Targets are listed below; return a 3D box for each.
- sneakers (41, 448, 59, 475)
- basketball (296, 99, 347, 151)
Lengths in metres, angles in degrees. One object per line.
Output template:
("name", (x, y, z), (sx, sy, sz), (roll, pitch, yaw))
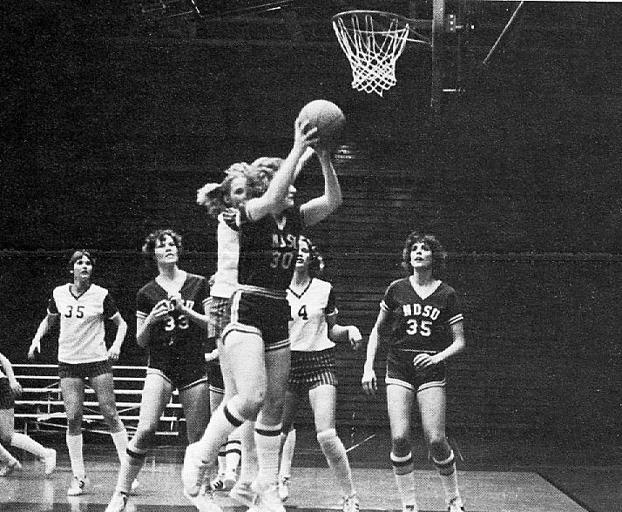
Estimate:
("sneakers", (-2.201, 1.731, 8.636), (0.116, 0.233, 0.097), (-4, -6, -19))
("basketball", (0.058, -0.909, 6.948), (0.406, 0.364, 0.294), (10, 18, -6))
